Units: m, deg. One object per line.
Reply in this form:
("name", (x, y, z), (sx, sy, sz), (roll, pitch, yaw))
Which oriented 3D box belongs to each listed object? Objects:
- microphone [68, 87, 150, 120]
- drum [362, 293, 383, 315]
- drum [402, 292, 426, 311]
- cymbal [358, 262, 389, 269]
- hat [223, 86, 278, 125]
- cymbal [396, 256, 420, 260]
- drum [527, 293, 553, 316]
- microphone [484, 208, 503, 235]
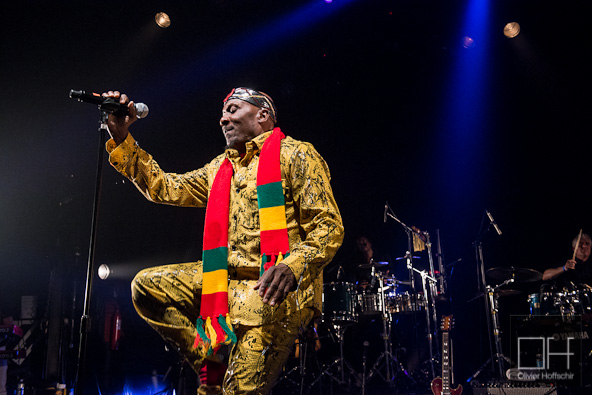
("microphone", (-1.990, -1.010, 5.426), (0.823, 0.249, 0.270), (7, 22, -45))
("drum", (1.401, 1.961, 9.353), (0.338, 0.302, 0.347), (1, -21, -1))
("drum", (2.215, 1.971, 9.528), (0.294, 0.294, 0.387), (-4, -21, 10))
("cymbal", (1.477, 1.314, 9.889), (0.329, 0.082, 0.337), (-2, -12, -3))
("hat", (-0.530, -1.076, 5.764), (0.622, 0.267, 0.517), (-4, -2, 44))
("cymbal", (2.169, 1.225, 10.183), (0.213, 0.052, 0.233), (4, -12, -16))
("drum", (4.173, 1.884, 8.798), (0.399, 0.406, 0.408), (3, -21, -3))
("microphone", (3.877, 0.500, 9.971), (0.090, 0.517, 0.135), (-26, -11, -18))
